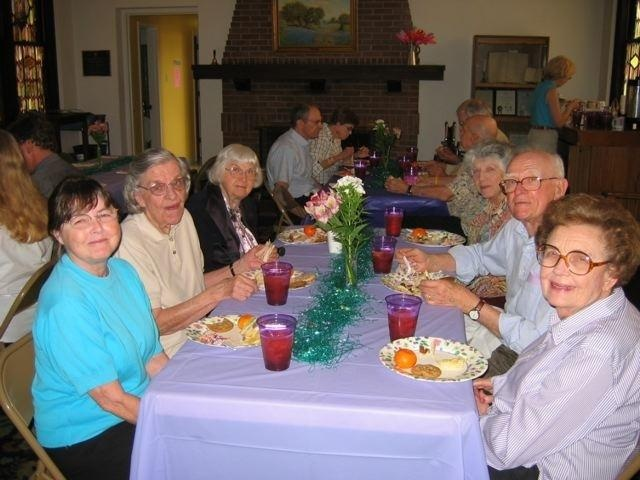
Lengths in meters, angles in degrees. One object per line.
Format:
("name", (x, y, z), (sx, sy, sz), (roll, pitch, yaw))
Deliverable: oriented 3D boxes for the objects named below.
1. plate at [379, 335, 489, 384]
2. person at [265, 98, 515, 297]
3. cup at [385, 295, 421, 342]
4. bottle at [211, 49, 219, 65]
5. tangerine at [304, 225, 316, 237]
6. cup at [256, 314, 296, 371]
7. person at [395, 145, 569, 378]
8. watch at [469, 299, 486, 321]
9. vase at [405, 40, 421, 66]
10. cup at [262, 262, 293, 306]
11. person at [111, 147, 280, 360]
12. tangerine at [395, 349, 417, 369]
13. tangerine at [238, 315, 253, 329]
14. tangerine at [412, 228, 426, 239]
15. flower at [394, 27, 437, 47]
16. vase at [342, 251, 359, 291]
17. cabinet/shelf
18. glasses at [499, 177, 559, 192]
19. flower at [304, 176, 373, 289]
("plate", (0.379, 0.377, 1.551), (0.272, 0.030, 0.278), (3, 15, 3))
("person", (0.623, -0.304, 3.580), (1.266, 0.304, 1.277), (4, 32, 12))
("cup", (0.287, 0.273, 1.684), (0.099, 0.112, 0.095), (0, 7, 0))
("bottle", (-1.616, -2.812, 7.591), (0.088, 0.255, 0.348), (-4, 14, -11))
("tangerine", (-0.059, -0.057, 2.881), (0.062, 0.063, 0.062), (-4, -24, 3))
("cup", (-0.145, 0.324, 1.516), (0.144, 0.167, 0.146), (-4, 0, 0))
("person", (0.774, 0.270, 2.287), (0.767, 1.308, 0.696), (-1, 16, 5))
("watch", (0.624, 0.275, 1.969), (0.035, 0.061, 0.058), (35, 62, 20))
("vase", (1.319, -2.689, 7.095), (0.248, 0.421, 0.219), (12, 34, 27))
("cup", (-0.181, 0.171, 1.954), (0.131, 0.155, 0.135), (6, 12, -1))
("person", (-0.568, 0.181, 2.237), (0.672, 1.117, 0.557), (-1, 29, -17))
("tangerine", (0.259, 0.362, 1.499), (0.054, 0.053, 0.054), (-4, -28, 19))
("tangerine", (-0.259, 0.283, 1.736), (0.044, 0.044, 0.044), (-2, 46, 0))
("tangerine", (0.561, -0.042, 2.855), (0.066, 0.067, 0.064), (6, 12, 45))
("flower", (1.316, -2.876, 6.995), (0.527, 0.227, 0.518), (-4, 8, -28))
("vase", (0.130, 0.130, 2.140), (0.062, 0.063, 0.186), (-8, 56, 15))
("cabinet/shelf", (2.714, -2.570, 7.509), (0.892, 1.531, 0.429), (7, 57, 10))
("glasses", (0.903, -0.238, 2.144), (0.232, 0.075, 0.105), (5, 15, 24))
("flower", (0.091, -0.002, 2.092), (0.278, 0.444, 0.233), (4, -14, -35))
